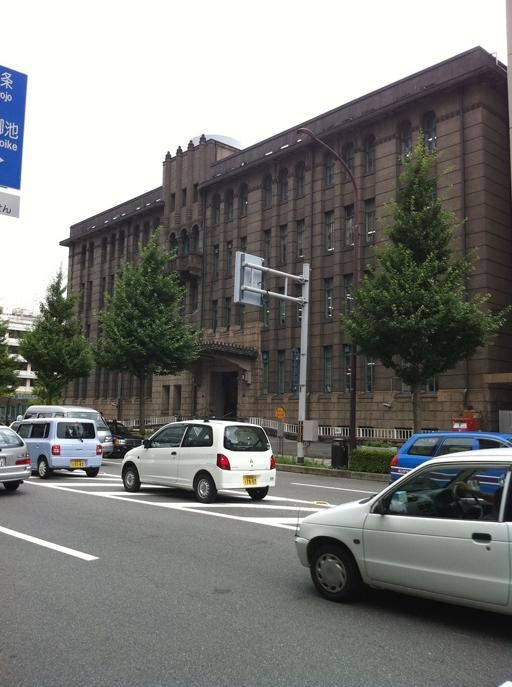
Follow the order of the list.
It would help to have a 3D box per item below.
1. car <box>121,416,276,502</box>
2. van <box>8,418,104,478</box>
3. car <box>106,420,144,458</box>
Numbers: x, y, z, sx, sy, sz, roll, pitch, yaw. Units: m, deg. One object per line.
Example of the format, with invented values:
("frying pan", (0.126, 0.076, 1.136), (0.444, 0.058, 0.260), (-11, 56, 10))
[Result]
("car", (-1.047, 2.256, 12.838), (2.551, 1.258, 1.460), (0, -7, 42))
("van", (-5.326, 2.714, 17.439), (1.302, 1.082, 2.216), (5, -5, -37))
("car", (-5.485, 3.764, 25.659), (1.233, 1.143, 2.701), (4, -4, -41))
